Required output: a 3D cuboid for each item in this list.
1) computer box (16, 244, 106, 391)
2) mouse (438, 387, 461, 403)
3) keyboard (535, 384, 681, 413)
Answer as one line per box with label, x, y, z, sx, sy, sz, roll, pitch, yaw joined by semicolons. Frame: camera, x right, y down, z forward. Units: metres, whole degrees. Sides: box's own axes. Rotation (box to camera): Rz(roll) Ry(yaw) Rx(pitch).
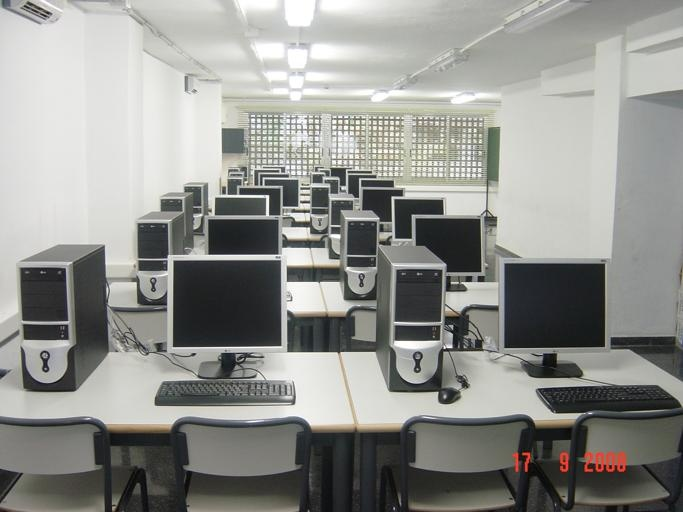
computer box;-1.374;0.287;2.753;0.317;0.633;0.406;0;11;1
mouse;0.508;0.646;2.653;0.105;0.050;0.157;3;11;11
keyboard;1.250;0.670;2.653;0.638;0.051;0.225;-1;11;-8
